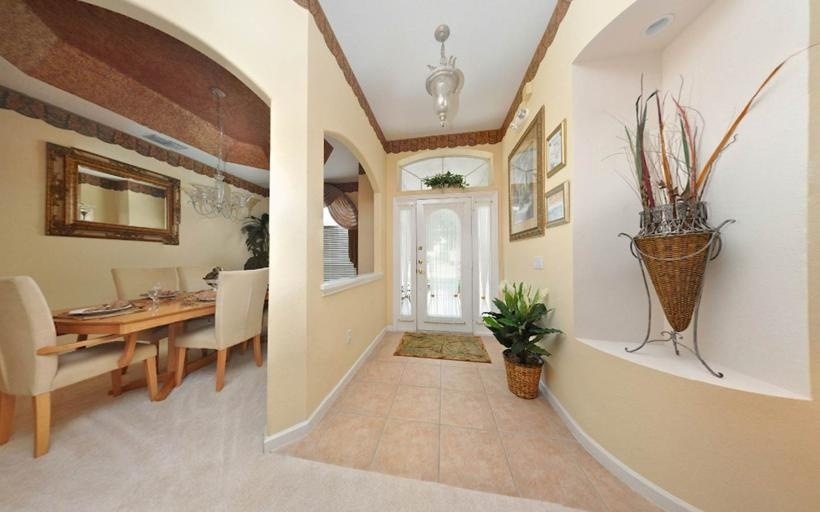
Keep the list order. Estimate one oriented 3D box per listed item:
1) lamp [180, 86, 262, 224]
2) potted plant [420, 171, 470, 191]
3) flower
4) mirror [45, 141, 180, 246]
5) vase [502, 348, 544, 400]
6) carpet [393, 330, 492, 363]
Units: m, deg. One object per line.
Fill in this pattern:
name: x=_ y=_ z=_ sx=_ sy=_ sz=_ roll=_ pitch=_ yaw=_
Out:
lamp: x=-2.721 y=-1.203 z=6.329 sx=1.272 sy=2.101 sz=1.271 roll=-1 pitch=5 yaw=-10
potted plant: x=0.499 y=-1.067 z=6.396 sx=0.622 sy=0.188 sz=0.225 roll=-3 pitch=0 yaw=14
flower: x=1.215 y=0.697 z=4.934 sx=0.786 sy=0.820 sz=0.832 roll=-1 pitch=1 yaw=8
mirror: x=-3.941 y=-0.820 z=5.803 sx=0.069 sy=1.046 sz=1.469 roll=0 pitch=-2 yaw=26
vase: x=1.195 y=1.285 z=4.770 sx=0.407 sy=0.313 sz=0.426 roll=0 pitch=-7 yaw=5
carpet: x=0.436 y=1.210 z=5.899 sx=1.214 sy=0.253 sz=0.820 roll=-3 pitch=0 yaw=8
